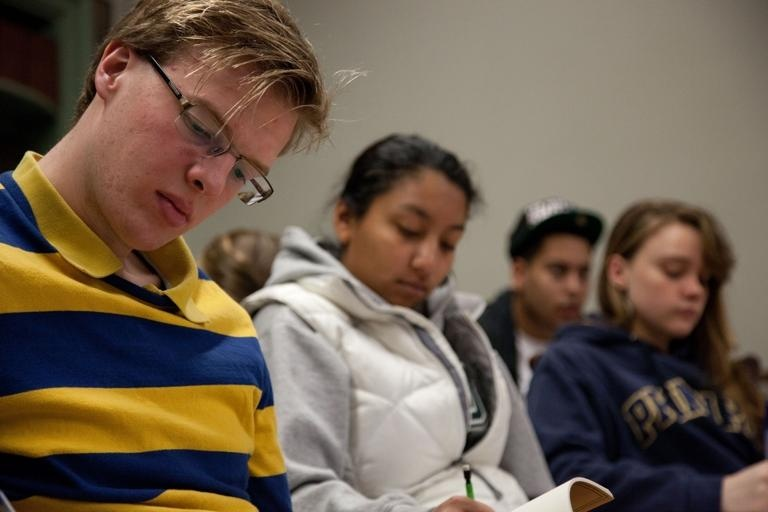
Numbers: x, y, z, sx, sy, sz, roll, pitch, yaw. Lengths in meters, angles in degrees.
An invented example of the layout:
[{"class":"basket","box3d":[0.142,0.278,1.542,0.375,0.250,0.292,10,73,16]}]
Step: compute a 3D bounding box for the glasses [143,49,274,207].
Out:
[{"class":"glasses","box3d":[-0.285,-0.230,1.573,0.223,0.070,0.226,52,-5,37]}]
